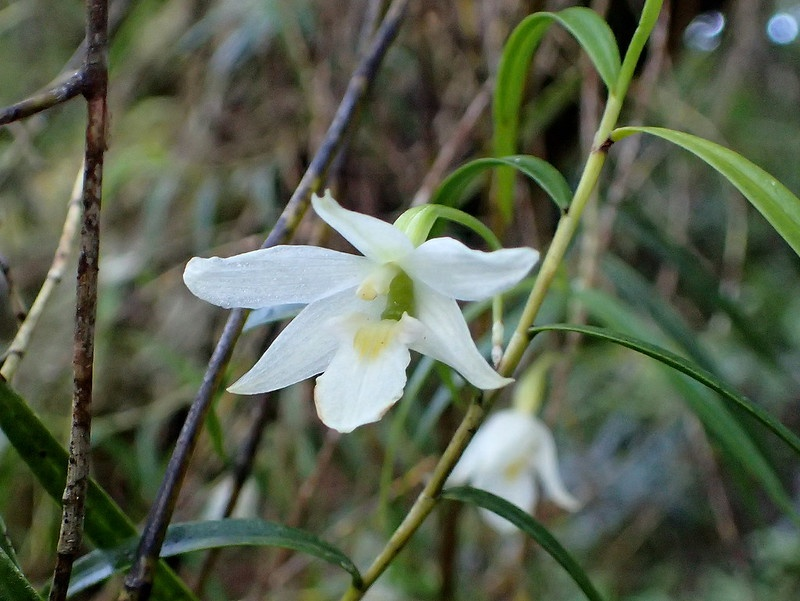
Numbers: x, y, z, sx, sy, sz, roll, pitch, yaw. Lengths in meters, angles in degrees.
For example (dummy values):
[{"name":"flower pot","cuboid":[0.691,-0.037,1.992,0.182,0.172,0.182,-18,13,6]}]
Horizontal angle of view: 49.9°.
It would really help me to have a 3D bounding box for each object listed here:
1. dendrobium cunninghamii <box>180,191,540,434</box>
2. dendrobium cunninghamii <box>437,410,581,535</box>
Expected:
[{"name":"dendrobium cunninghamii","cuboid":[-0.062,-0.039,1.383,0.514,0.373,0.345,3,-27,0]},{"name":"dendrobium cunninghamii","cuboid":[0.226,0.366,1.818,0.251,0.229,0.186,-1,-35,1]}]
